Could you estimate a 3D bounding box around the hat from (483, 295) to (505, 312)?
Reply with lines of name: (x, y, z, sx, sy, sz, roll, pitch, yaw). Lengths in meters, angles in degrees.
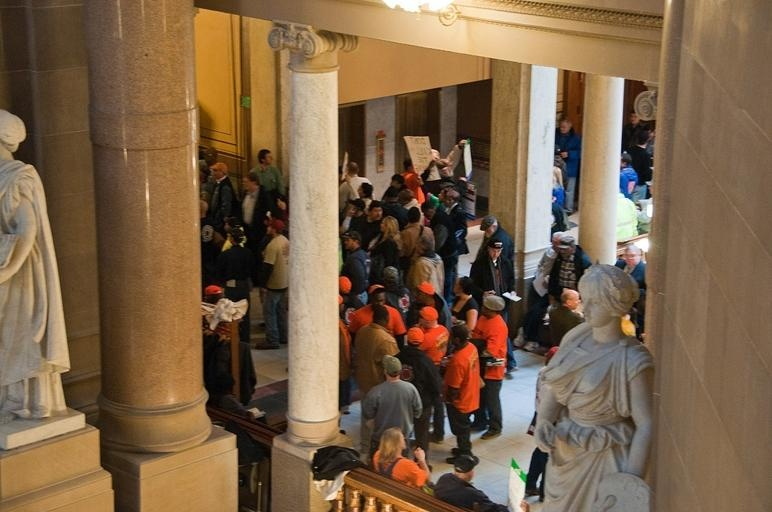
hat: (1.081, 0.466, 8.648, 0.166, 0.059, 0.210, -5, 24, -36)

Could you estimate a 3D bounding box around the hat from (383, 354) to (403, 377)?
hat: (0.064, 0.980, 7.528, 0.146, 0.214, 0.296, -2, 6, 3)

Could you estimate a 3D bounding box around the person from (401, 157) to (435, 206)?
person: (0.538, -1.044, 12.869, 0.431, 0.837, 0.407, -17, 27, -5)

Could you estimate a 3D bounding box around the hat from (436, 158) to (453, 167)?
hat: (0.942, -1.440, 13.303, 0.260, 0.146, 0.122, 3, -18, -43)

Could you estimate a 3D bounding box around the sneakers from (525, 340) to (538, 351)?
sneakers: (1.828, 1.126, 10.713, 0.106, 0.063, 0.175, 8, 20, 27)

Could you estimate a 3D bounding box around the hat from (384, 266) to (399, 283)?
hat: (0.069, 0.196, 9.566, 0.144, 0.142, 0.177, 14, 42, 18)

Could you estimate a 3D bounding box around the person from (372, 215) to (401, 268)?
person: (0.004, -0.163, 10.561, 0.365, 0.625, 0.484, -3, 6, 1)

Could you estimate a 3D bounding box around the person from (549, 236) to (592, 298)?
person: (1.942, 0.093, 8.933, 0.434, 0.781, 0.299, 34, 64, 29)

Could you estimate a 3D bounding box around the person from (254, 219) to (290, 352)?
person: (-1.393, 0.362, 10.372, 0.443, 1.598, 0.583, -4, 7, -8)

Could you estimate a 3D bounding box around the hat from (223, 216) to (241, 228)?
hat: (-2.027, -0.416, 11.248, 0.226, 0.167, 0.191, 0, 24, -2)

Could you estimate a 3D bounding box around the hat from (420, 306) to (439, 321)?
hat: (0.418, 0.567, 8.384, 0.131, 0.075, 0.156, -6, 35, -38)

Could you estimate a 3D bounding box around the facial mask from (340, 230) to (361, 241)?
facial mask: (-0.406, -0.239, 10.141, 0.206, 0.076, 0.128, 4, -3, -18)

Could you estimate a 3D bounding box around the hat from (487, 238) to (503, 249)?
hat: (1.315, -0.150, 10.233, 0.153, 0.073, 0.132, -2, 21, -14)

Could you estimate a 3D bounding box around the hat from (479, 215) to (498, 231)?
hat: (1.247, -0.396, 10.363, 0.263, 0.109, 0.159, -3, 36, 14)

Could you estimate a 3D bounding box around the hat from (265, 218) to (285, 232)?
hat: (-1.348, -0.368, 10.108, 0.214, 0.099, 0.151, 32, 25, 18)

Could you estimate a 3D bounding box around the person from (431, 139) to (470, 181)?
person: (1.102, -1.596, 14.425, 0.535, 0.399, 1.380, -4, 8, 7)

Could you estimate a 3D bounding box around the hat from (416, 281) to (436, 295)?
hat: (0.432, 0.367, 9.080, 0.174, 0.141, 0.200, -2, 6, 3)

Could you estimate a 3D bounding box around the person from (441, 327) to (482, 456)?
person: (0.729, 1.293, 8.175, 0.349, 1.308, 0.375, -2, 7, 5)

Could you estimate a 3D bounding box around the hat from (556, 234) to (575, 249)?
hat: (2.111, -0.156, 9.890, 0.192, 0.152, 0.204, -2, 6, 7)

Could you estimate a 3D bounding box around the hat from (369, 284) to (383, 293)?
hat: (-0.100, 0.341, 8.785, 0.099, 0.039, 0.140, -9, -3, -22)
